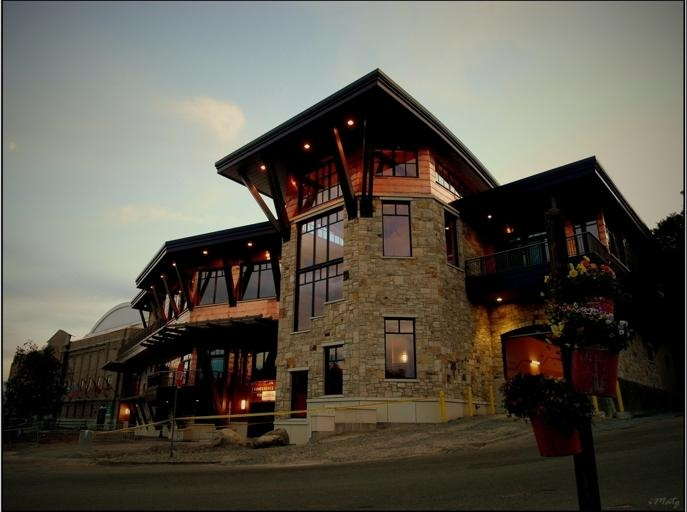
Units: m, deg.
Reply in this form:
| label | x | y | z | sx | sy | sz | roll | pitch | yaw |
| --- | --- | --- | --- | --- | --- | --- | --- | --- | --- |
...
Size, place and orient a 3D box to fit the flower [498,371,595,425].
| label | x | y | z | sx | sy | sz | roll | pitch | yaw |
| --- | --- | --- | --- | --- | --- | --- | --- | --- | --- |
| flower | 3.428 | 2.410 | 8.515 | 1.156 | 0.586 | 0.861 | 16 | -27 | -21 |

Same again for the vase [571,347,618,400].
| label | x | y | z | sx | sy | sz | roll | pitch | yaw |
| --- | --- | --- | --- | --- | --- | --- | --- | --- | --- |
| vase | 4.235 | 1.925 | 8.796 | 0.687 | 0.768 | 0.703 | 5 | -2 | -1 |

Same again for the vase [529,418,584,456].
| label | x | y | z | sx | sy | sz | roll | pitch | yaw |
| --- | --- | --- | --- | --- | --- | --- | --- | --- | --- |
| vase | 3.513 | 3.050 | 8.512 | 0.726 | 0.563 | 0.662 | -3 | -29 | 13 |
